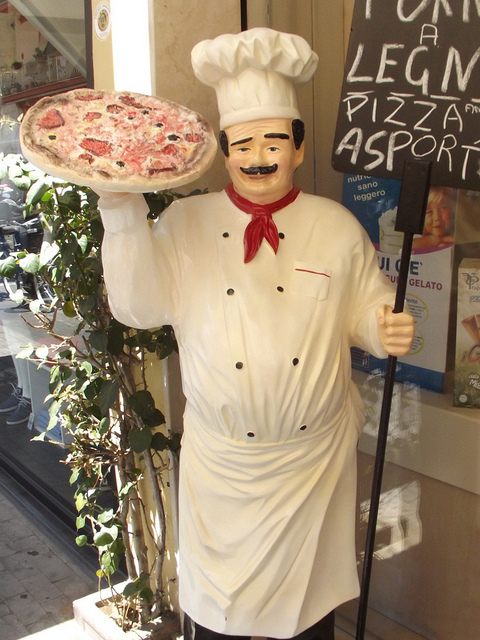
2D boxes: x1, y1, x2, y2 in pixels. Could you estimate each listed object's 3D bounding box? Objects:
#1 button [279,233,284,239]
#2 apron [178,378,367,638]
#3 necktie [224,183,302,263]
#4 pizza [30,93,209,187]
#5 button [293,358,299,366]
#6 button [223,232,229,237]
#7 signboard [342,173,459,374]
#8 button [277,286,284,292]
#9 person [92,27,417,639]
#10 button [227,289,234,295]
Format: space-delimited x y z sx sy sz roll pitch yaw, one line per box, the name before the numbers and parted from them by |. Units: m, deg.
button | 0.084 -0.176 1.202 0.014 0.013 0.003 0 0 9
apron | 0.036 0.473 1.377 0.352 0.578 0.415 0 16 -8
necktie | 0.043 -0.213 1.237 0.164 0.129 0.195 1 23 4
pizza | -0.204 -0.316 1.016 0.308 0.115 0.293 -8 23 -17
button | 0.109 0.082 1.145 0.015 0.014 0.003 1 3 -15
button | -0.031 -0.179 1.209 0.011 0.010 0.002 0 -5 4
signboard | 0.432 -0.164 1.682 0.413 0.660 0.068 6 -6 -24
button | 0.079 -0.063 1.168 0.010 0.010 0.002 3 -12 -14
person | 0.066 0.123 1.269 0.546 1.393 0.512 16 29 35
button | -0.020 -0.058 1.164 0.013 0.012 0.003 14 3 8
